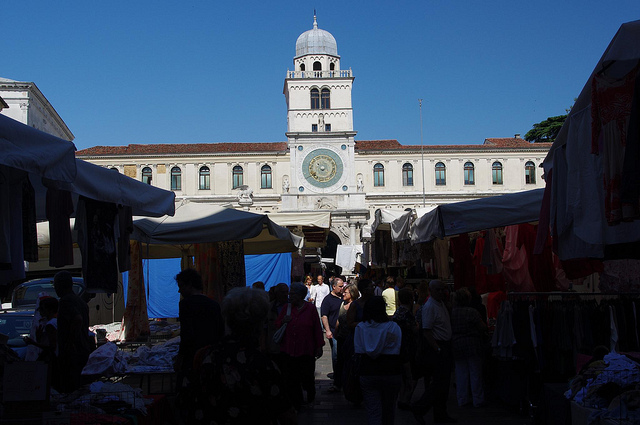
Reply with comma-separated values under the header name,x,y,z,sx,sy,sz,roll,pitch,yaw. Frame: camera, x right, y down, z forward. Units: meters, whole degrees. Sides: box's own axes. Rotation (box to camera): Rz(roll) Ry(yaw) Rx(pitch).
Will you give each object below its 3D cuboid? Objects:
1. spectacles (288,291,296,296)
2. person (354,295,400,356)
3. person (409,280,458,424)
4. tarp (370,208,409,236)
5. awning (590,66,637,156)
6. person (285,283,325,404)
name,x,y,z,sx,sy,sz,roll,pitch,yaw
spectacles,-0.422,1.215,9.781,0.092,0.027,0.093,1,-24,3
person,0.666,1.358,7.779,0.495,0.724,0.475,-1,19,21
person,1.616,1.979,9.268,0.535,2.000,0.885,-4,-8,14
tarp,1.596,0.124,15.553,0.639,0.359,0.658,1,-10,-8
awning,2.942,-1.034,6.534,0.255,0.835,0.274,0,6,4
person,-0.249,1.963,9.827,0.595,1.788,0.633,1,-8,-23
